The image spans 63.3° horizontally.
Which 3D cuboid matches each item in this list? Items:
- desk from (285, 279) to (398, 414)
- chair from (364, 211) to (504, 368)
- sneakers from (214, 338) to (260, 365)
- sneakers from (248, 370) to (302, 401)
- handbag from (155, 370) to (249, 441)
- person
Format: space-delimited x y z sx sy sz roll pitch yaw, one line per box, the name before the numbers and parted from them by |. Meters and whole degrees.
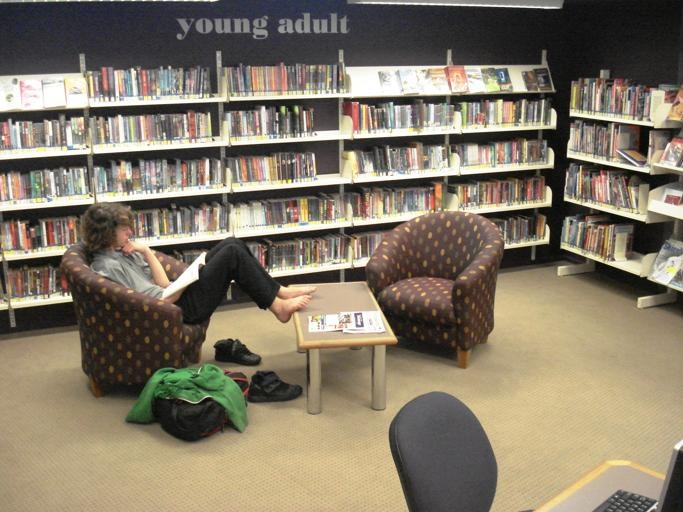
desk | -0.003 0.503 3.850 0.814 0.562 1.342 -4 23 -6
chair | 0.789 0.197 4.549 1.099 0.870 0.967 5 23 24
sneakers | -0.817 0.746 4.389 0.435 0.161 0.150 3 23 3
sneakers | -0.459 0.895 3.871 0.336 0.140 0.181 -2 12 -9
handbag | -0.843 0.968 3.512 0.466 0.138 0.441 -7 18 -32
person | -1.032 0.126 4.088 1.684 0.802 0.718 -1 15 -9
